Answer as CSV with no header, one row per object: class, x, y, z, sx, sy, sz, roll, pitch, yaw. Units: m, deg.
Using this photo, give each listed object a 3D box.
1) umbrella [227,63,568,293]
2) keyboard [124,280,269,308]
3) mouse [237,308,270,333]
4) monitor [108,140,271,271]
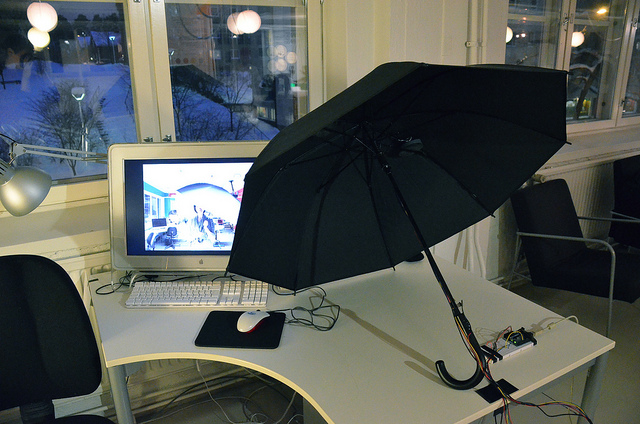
umbrella,0.167,-0.094,2.650,1.361,0.521,1.357,-19,14,-35
keyboard,-0.615,0.414,2.554,0.709,0.082,0.168,0,17,-3
mouse,-0.316,0.512,2.399,0.094,0.068,0.161,14,21,36
monitor,-0.642,-0.054,2.477,0.652,0.484,0.059,-1,6,-8
